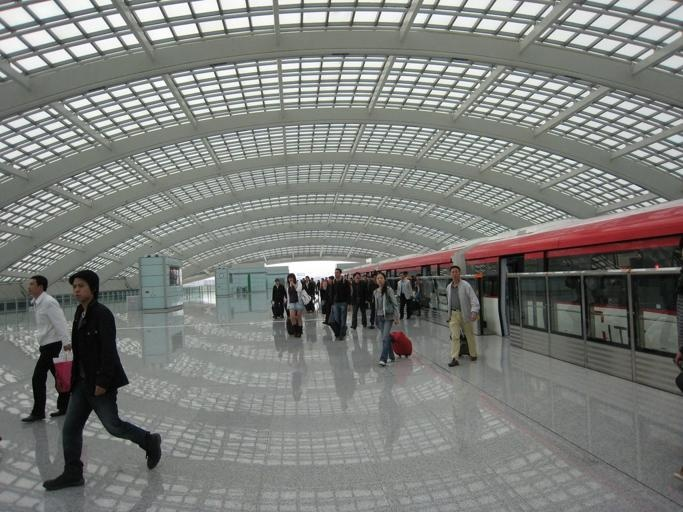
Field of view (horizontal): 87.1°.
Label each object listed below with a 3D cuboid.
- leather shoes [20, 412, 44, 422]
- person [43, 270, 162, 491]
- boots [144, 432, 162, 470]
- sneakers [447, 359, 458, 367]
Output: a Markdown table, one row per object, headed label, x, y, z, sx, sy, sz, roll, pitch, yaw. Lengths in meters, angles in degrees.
| label | x | y | z | sx | sy | sz | roll | pitch | yaw |
| --- | --- | --- | --- | --- | --- | --- | --- | --- | --- |
| leather shoes | -4.959 | 2.742 | 6.095 | 0.374 | 0.131 | 0.131 | 6 | -12 | -17 |
| person | -2.647 | 1.352 | 4.085 | 1.030 | 2.410 | 0.589 | -1 | -3 | -22 |
| boots | -2.190 | 2.341 | 4.310 | 0.200 | 0.421 | 0.171 | 0 | 6 | -32 |
| sneakers | 2.381 | 2.629 | 8.839 | 0.264 | 0.224 | 0.132 | 0 | 0 | 7 |
